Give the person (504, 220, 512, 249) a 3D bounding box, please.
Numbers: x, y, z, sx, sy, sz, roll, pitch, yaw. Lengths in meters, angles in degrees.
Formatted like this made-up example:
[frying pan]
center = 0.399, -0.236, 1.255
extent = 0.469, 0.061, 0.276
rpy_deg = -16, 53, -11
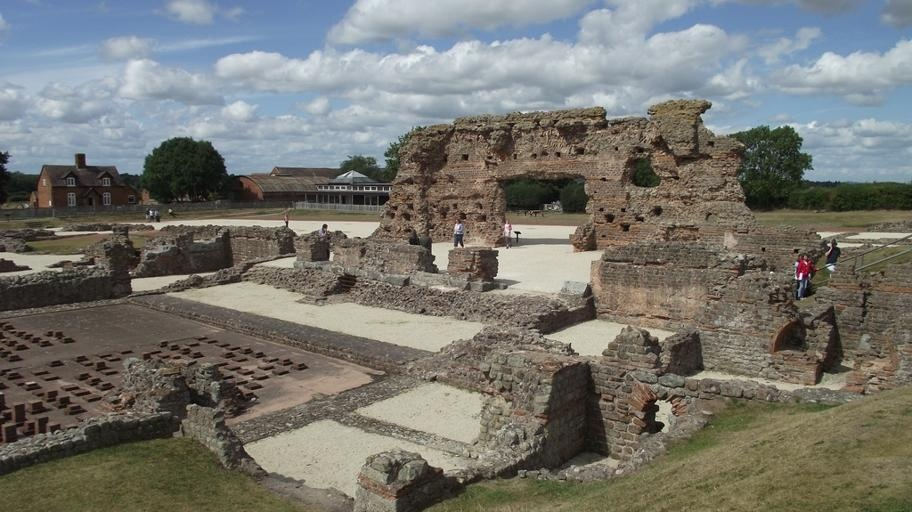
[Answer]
[person]
center = 3.512, -1.456, 37.768
extent = 0.314, 1.763, 1.212
rpy_deg = 2, 4, 13
